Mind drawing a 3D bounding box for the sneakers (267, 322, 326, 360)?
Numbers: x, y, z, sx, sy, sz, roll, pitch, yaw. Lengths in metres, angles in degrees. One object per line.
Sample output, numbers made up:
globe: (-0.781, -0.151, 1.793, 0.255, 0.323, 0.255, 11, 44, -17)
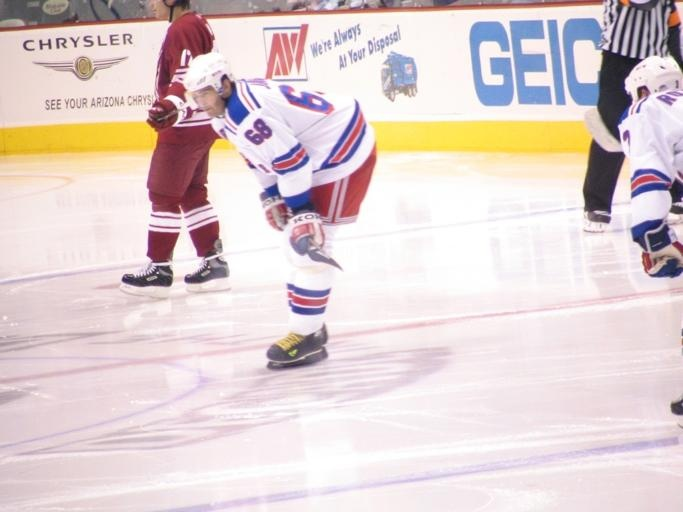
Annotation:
sneakers: (-0.187, 0.392, 3.235, 0.315, 0.110, 0.107, -9, 7, -36)

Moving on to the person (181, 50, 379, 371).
person: (-0.241, -0.196, 3.192, 0.800, 1.343, 0.500, -1, 12, 1)

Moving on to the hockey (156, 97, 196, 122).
hockey: (-0.961, -0.847, 4.266, 0.129, 0.102, 0.213, -39, 22, -27)

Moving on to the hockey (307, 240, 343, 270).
hockey: (-0.055, 0.008, 3.086, 0.096, 0.148, 0.082, -30, 11, 8)

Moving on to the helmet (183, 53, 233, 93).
helmet: (-0.553, -0.774, 3.161, 0.224, 0.154, 0.165, -18, 17, -30)

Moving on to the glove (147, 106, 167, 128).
glove: (-1.031, -0.779, 4.167, 0.112, 0.113, 0.122, 9, -14, 1)
